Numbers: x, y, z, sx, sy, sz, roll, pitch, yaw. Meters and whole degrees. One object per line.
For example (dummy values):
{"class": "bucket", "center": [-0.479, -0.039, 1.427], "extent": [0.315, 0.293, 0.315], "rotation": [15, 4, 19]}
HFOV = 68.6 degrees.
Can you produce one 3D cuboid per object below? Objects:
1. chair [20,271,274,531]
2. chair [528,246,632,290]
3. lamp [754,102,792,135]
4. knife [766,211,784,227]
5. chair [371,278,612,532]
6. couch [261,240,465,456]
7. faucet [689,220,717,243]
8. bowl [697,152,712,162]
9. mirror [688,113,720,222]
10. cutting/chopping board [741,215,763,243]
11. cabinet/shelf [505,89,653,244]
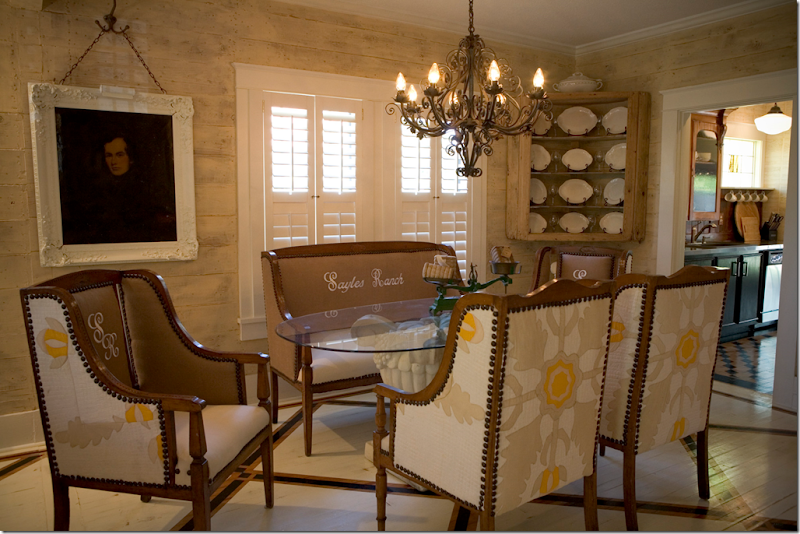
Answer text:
{"class": "chair", "center": [-1.528, 0.745, 4.392], "extent": [1.695, 2.267, 1.481], "rotation": [1, 3, 16]}
{"class": "chair", "center": [1.580, -0.001, 5.114], "extent": [0.452, 0.403, 0.219], "rotation": [2, -6, 28]}
{"class": "lamp", "center": [4.374, -1.761, 6.901], "extent": [0.331, 0.331, 0.236], "rotation": [1, 9, 30]}
{"class": "knife", "center": [5.063, -0.659, 7.944], "extent": [0.173, 0.227, 0.071], "rotation": [36, -9, 49]}
{"class": "chair", "center": [0.507, 0.847, 3.235], "extent": [1.329, 1.559, 0.598], "rotation": [-1, 8, 13]}
{"class": "couch", "center": [-0.348, 0.618, 4.237], "extent": [1.661, 1.221, 0.791], "rotation": [-3, 6, -33]}
{"class": "faucet", "center": [3.808, -0.458, 7.426], "extent": [0.301, 0.272, 0.149], "rotation": [-3, 9, -29]}
{"class": "bowl", "center": [3.753, -1.364, 7.252], "extent": [0.146, 0.087, 0.141], "rotation": [1, 7, 0]}
{"class": "mirror", "center": [3.757, -1.243, 7.231], "extent": [0.593, 1.298, 0.130], "rotation": [-9, 10, -34]}
{"class": "cutting/chopping board", "center": [4.686, -0.501, 7.859], "extent": [0.383, 0.336, 0.066], "rotation": [-11, -4, -42]}
{"class": "cabinet/shelf", "center": [1.901, -1.097, 6.177], "extent": [1.819, 1.872, 0.568], "rotation": [1, 0, 9]}
